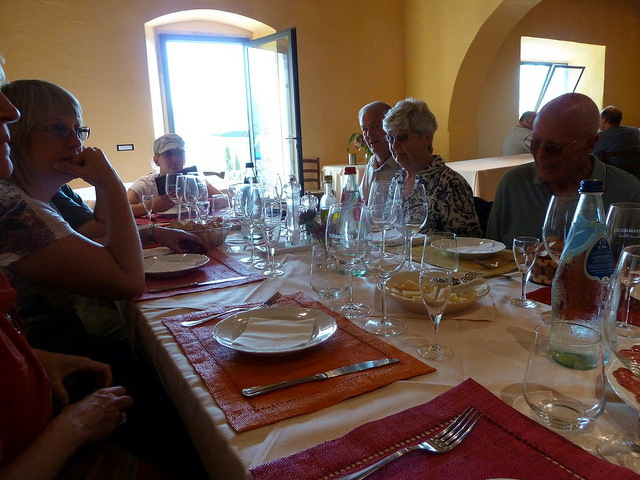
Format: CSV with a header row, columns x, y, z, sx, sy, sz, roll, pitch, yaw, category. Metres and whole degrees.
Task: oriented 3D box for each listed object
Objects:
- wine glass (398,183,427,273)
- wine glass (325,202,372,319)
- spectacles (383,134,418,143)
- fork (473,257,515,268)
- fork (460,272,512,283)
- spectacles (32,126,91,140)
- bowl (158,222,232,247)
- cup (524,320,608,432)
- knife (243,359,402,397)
x,y,z,sx,sy,sz,roll,pitch,yaw,category
0.337,-0.057,1.738,0.146,0.375,0.133,9,22,31,wine glass
0.067,0.045,1.396,0.101,0.363,0.130,-2,14,-24,wine glass
0.460,-0.598,2.741,0.095,0.049,0.215,-13,18,-34,spectacles
0.648,0.084,1.740,0.142,0.028,0.024,-4,15,-12,fork
0.546,0.126,1.544,0.023,0.032,0.213,-6,4,-24,fork
-0.955,-0.406,1.775,0.106,0.056,0.248,0,15,10,spectacles
-0.617,-0.015,2.281,0.274,0.104,0.277,6,7,-1,bowl
0.487,0.268,0.928,0.137,0.195,0.102,6,17,30,cup
0.011,0.324,1.085,0.217,0.013,0.036,-5,18,-26,knife
